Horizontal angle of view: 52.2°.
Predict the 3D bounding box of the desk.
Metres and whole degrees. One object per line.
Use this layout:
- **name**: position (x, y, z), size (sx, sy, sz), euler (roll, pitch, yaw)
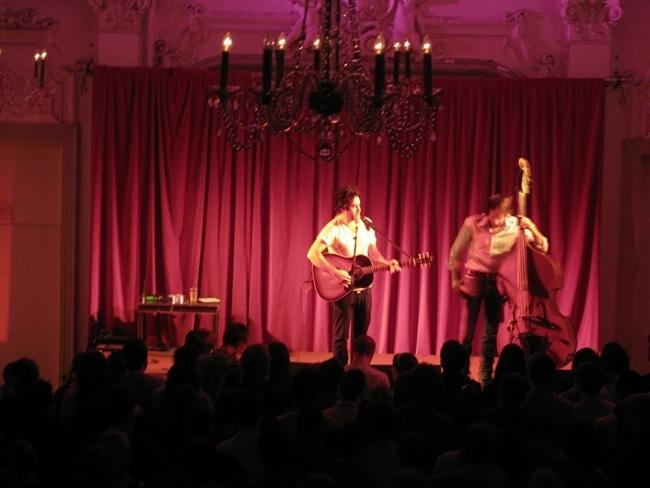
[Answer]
- **desk**: position (-1.477, 0.670, 6.906), size (0.735, 0.590, 0.496), euler (0, 1, 1)
